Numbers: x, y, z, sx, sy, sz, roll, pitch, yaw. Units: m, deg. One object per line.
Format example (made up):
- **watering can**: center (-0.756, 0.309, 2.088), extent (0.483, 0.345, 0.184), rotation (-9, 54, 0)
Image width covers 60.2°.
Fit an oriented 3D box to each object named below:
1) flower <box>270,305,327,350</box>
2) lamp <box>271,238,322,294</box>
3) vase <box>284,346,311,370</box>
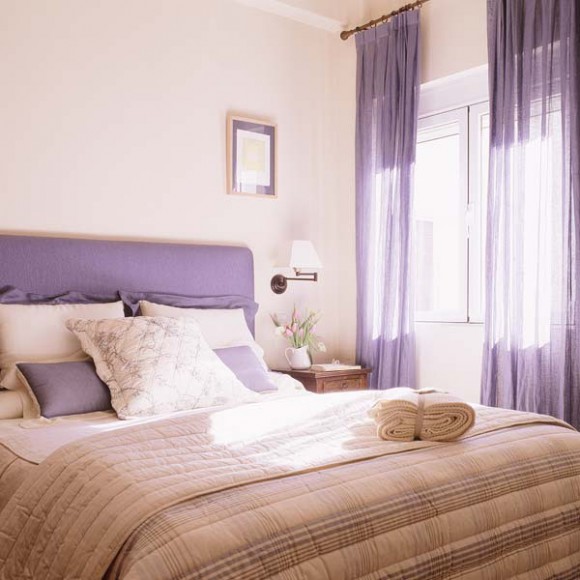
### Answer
- **flower**: center (0.082, 0.305, 3.745), extent (0.337, 0.388, 0.340), rotation (0, -3, 39)
- **lamp**: center (0.088, -0.152, 3.772), extent (0.392, 0.562, 0.347), rotation (-1, -1, 40)
- **vase**: center (0.053, 0.510, 3.660), extent (0.182, 0.196, 0.130), rotation (0, -2, 4)
